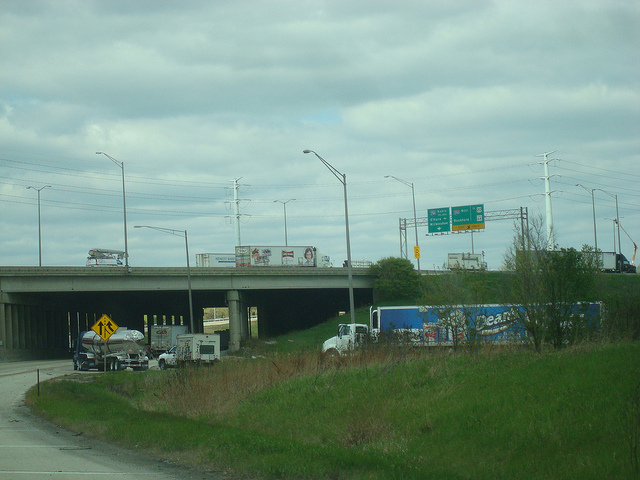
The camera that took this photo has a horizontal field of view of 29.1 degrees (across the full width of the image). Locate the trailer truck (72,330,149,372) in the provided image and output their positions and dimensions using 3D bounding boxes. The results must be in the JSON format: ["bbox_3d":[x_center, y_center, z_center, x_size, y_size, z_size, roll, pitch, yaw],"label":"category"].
[{"bbox_3d":[-15.425,8.240,88.717,7.115,3.102,2.480,-5,-3,44],"label":"trailer truck"}]

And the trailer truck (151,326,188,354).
[{"bbox_3d":[-12.459,8.479,98.862,1.559,2.068,3.177,-1,-6,2],"label":"trailer truck"}]

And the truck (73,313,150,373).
[{"bbox_3d":[-15.330,8.095,88.992,2.613,3.815,7.526,3,-5,-41],"label":"truck"}]

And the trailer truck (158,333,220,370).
[{"bbox_3d":[-9.282,8.326,86.324,2.267,2.645,4.516,3,-6,-45],"label":"trailer truck"}]

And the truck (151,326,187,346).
[{"bbox_3d":[-12.215,7.977,99.278,1.626,1.824,3.102,0,0,18],"label":"truck"}]

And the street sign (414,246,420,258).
[{"bbox_3d":[8.863,1.568,113.136,0.178,1.106,0.669,-8,7,-23],"label":"street sign"}]
